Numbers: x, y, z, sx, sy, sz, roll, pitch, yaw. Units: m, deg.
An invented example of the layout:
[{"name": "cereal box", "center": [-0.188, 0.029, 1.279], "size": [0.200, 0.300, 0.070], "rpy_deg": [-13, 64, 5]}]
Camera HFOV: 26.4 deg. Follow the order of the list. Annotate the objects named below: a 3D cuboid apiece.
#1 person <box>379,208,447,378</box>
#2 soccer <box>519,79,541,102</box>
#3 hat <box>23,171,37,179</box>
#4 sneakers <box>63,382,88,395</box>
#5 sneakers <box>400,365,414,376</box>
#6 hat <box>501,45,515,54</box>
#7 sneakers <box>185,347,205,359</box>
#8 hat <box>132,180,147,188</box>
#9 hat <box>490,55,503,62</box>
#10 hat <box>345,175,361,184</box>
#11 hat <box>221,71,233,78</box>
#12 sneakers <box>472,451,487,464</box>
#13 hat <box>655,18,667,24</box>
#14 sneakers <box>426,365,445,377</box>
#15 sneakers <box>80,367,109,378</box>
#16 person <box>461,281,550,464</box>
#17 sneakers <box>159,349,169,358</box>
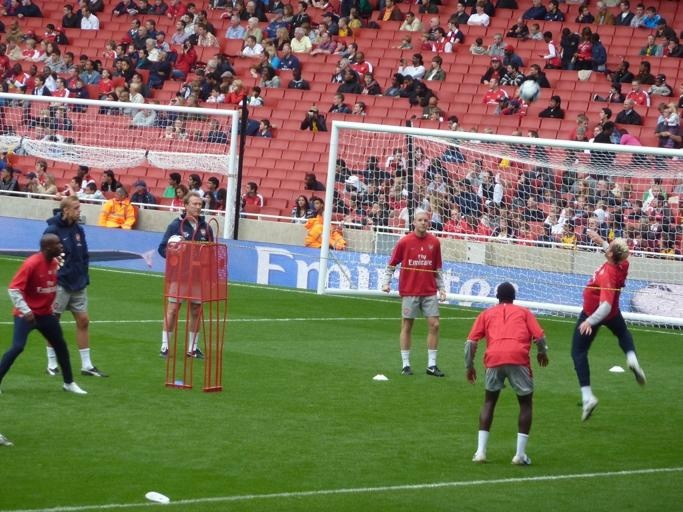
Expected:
[{"name": "person", "center": [1.226, 0.553, 23.598], "size": [0.949, 2.649, 1.061], "rpy_deg": [-2, 12, -20]}, {"name": "soccer", "center": [4.353, -3.830, 33.844], "size": [0.453, 0.527, 0.597], "rpy_deg": [4, 12, 7]}, {"name": "hat", "center": [-7.468, -1.968, 35.102], "size": [0.253, 0.129, 0.179], "rpy_deg": [4, 0, -24]}, {"name": "sneakers", "center": [-3.858, 1.941, 21.497], "size": [0.445, 0.176, 0.147], "rpy_deg": [4, 6, 3]}, {"name": "sneakers", "center": [1.046, 1.845, 23.478], "size": [0.131, 0.113, 0.268], "rpy_deg": [0, -8, -2]}, {"name": "hat", "center": [4.052, -5.041, 35.366], "size": [0.229, 0.209, 0.180], "rpy_deg": [7, 2, 3]}, {"name": "sneakers", "center": [-2.335, 1.562, 23.587], "size": [0.345, 0.143, 0.128], "rpy_deg": [0, 5, 12]}, {"name": "hat", "center": [-4.714, -1.709, 34.181], "size": [0.253, 0.124, 0.356], "rpy_deg": [0, 5, 1]}, {"name": "hat", "center": [3.761, -4.817, 35.338], "size": [0.291, 0.134, 0.474], "rpy_deg": [0, 4, 13]}, {"name": "hat", "center": [0.240, -1.653, 31.229], "size": [0.119, 0.196, 0.450], "rpy_deg": [-5, 14, -32]}, {"name": "hat", "center": [-2.955, -4.714, 37.677], "size": [0.269, 0.139, 0.196], "rpy_deg": [9, 11, 42]}, {"name": "sneakers", "center": [1.879, 2.726, 19.845], "size": [0.200, 0.166, 0.166], "rpy_deg": [3, 12, 5]}, {"name": "hat", "center": [7.749, -5.702, 35.324], "size": [0.202, 0.249, 0.220], "rpy_deg": [5, 9, 7]}, {"name": "sneakers", "center": [1.527, 1.862, 23.475], "size": [0.143, 0.116, 0.274], "rpy_deg": [0, -4, -38]}, {"name": "sneakers", "center": [-3.776, 1.783, 22.399], "size": [0.439, 0.157, 0.157], "rpy_deg": [1, 2, 2]}, {"name": "person", "center": [2.235, 1.594, 19.943], "size": [1.130, 2.350, 0.874], "rpy_deg": [4, 12, 6]}, {"name": "sneakers", "center": [-2.852, 1.554, 23.424], "size": [0.115, 0.178, 0.183], "rpy_deg": [2, 8, -7]}]
